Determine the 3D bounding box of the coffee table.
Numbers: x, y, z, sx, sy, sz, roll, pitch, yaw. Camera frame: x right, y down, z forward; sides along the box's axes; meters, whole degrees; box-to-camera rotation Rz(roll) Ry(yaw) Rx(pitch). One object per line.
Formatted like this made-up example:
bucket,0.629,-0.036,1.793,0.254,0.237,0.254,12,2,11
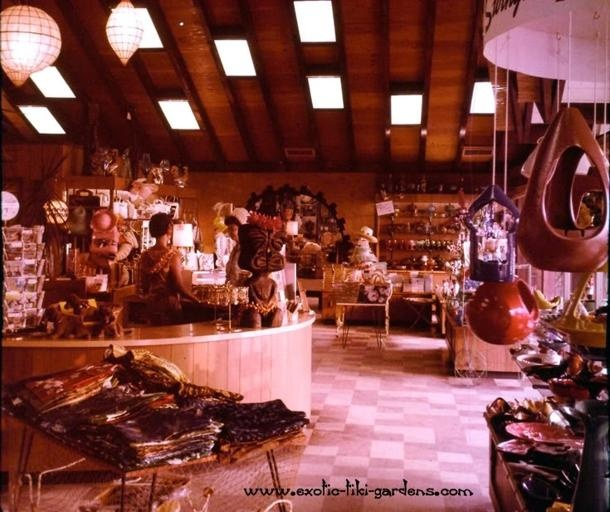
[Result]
coffee table,-0.691,0.792,2.259,1.356,0.538,0.764,1,1,-4

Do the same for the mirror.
mirror,-0.005,-0.542,9.666,2.157,1.806,0.049,0,-3,-15

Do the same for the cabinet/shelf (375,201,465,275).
cabinet/shelf,2.548,-0.415,11.055,1.421,1.335,0.443,0,-5,4

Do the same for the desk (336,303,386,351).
desk,0.984,1.202,8.993,0.763,0.634,0.810,0,-6,6

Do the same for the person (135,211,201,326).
person,-1.229,0.113,4.456,0.556,0.972,0.277,1,1,2

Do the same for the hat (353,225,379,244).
hat,1.266,-0.407,10.158,0.406,0.192,0.471,24,-3,34
